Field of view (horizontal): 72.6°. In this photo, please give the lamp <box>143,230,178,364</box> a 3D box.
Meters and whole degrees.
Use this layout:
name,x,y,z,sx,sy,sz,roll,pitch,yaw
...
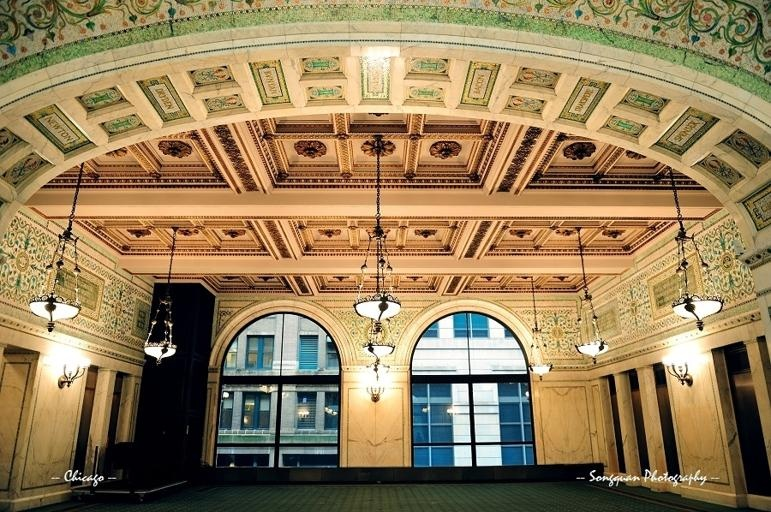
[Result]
name,x,y,z,sx,sy,sz,roll,pitch,yaw
lamp,-5.499,1.027,13.207,0.826,3.262,0.720,8,-13,-21

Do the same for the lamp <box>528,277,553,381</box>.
name,x,y,z,sx,sy,sz,roll,pitch,yaw
lamp,4.748,2.421,16.541,0.718,2.887,0.706,-13,-20,32
